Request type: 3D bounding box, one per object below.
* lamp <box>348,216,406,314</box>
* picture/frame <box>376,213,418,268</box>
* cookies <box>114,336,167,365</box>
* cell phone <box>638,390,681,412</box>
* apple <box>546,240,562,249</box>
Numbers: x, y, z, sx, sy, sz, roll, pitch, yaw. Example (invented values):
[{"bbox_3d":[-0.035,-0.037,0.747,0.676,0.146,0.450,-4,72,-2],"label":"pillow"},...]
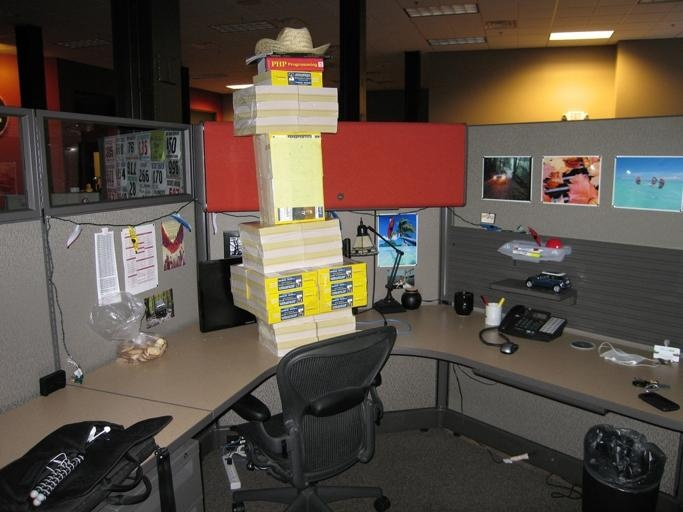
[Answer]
[{"bbox_3d":[0.226,0.059,3.129,0.303,0.553,0.172,-2,13,1],"label":"lamp"},{"bbox_3d":[0.325,-0.109,3.168,0.331,0.429,0.018,-1,7,-6],"label":"picture/frame"},{"bbox_3d":[-0.965,0.452,2.540,0.134,0.048,0.161,2,11,1],"label":"cookies"},{"bbox_3d":[1.345,0.617,2.230,0.115,0.034,0.145,-9,14,-32],"label":"cell phone"},{"bbox_3d":[1.144,-0.064,2.828,0.083,0.044,0.045,3,13,21],"label":"apple"}]
